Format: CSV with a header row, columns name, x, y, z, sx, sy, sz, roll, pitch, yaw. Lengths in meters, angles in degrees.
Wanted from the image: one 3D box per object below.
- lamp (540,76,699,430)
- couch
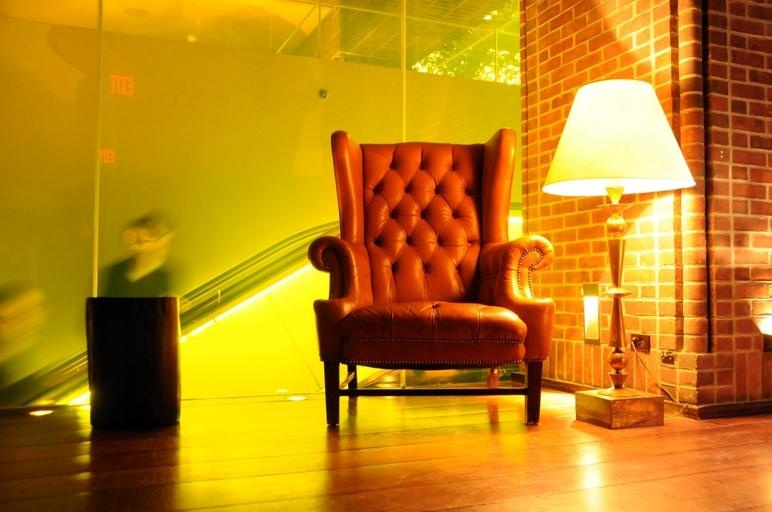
name,x,y,z,sx,sy,sz,roll,pitch,yaw
lamp,1.187,-0.024,3.310,0.716,1.788,0.457,0,5,8
couch,0.273,0.039,3.588,1.216,1.432,1.237,0,2,3
